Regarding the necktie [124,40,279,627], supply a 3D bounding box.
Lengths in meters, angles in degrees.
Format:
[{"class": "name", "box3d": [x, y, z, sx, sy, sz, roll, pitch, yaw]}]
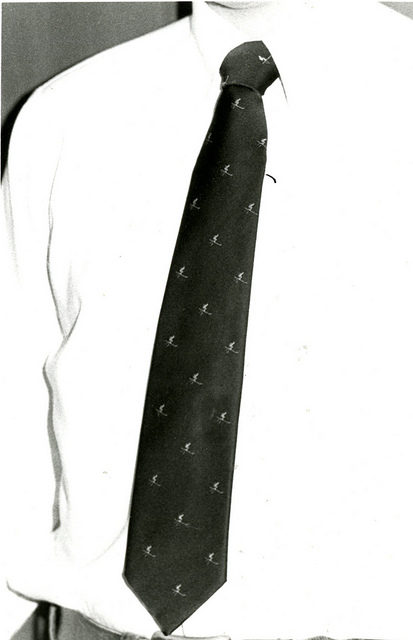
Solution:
[{"class": "necktie", "box3d": [-0.010, 0.042, 0.773, 0.138, 0.052, 0.678, 7, 91, 14]}]
